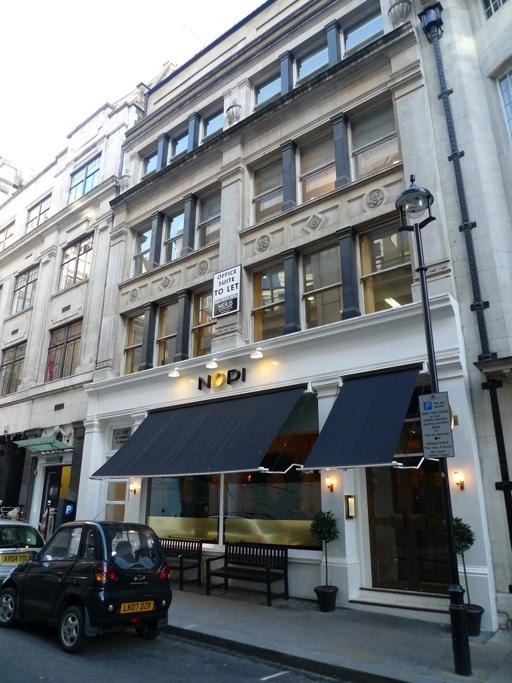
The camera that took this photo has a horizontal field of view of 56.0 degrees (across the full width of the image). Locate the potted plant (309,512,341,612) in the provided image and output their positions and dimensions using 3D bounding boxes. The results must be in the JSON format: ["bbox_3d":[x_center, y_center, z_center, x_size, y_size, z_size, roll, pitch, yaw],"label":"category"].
[{"bbox_3d":[1.300,4.102,9.123,0.532,1.680,0.748,-12,-21,27],"label":"potted plant"}]

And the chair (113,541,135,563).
[{"bbox_3d":[-1.833,2.889,6.642,0.179,0.257,0.240,1,-7,-4],"label":"chair"}]
